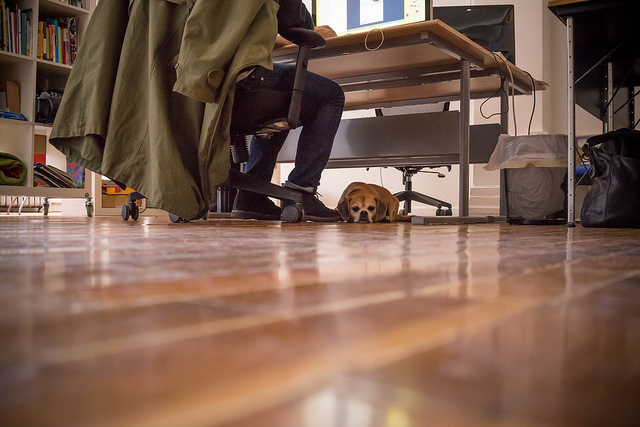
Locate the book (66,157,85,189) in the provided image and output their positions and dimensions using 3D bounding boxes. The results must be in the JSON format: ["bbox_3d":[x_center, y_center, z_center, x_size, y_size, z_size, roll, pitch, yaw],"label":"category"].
[{"bbox_3d":[-1.801,-0.284,3.154,0.034,0.334,0.245,-18,18,-35],"label":"book"}]

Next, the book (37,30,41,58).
[{"bbox_3d":[-2.280,-1.383,3.464,0.016,0.222,0.035,2,1,3],"label":"book"}]

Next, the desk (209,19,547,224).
[{"bbox_3d":[0.457,-0.478,2.904,1.488,1.012,1.746,4,2,41],"label":"desk"}]

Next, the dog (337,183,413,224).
[{"bbox_3d":[0.290,-0.070,2.499,0.400,0.186,0.749,3,2,18],"label":"dog"}]

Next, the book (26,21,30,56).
[{"bbox_3d":[-2.305,-1.389,3.376,0.020,0.273,0.025,1,1,-34],"label":"book"}]

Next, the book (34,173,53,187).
[{"bbox_3d":[-2.157,-0.248,3.304,0.176,0.037,0.054,35,13,-35],"label":"book"}]

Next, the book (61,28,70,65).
[{"bbox_3d":[-2.163,-1.425,3.630,0.067,0.296,0.022,1,1,-39],"label":"book"}]

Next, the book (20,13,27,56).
[{"bbox_3d":[-2.327,-1.413,3.358,0.046,0.323,0.033,1,1,-37],"label":"book"}]

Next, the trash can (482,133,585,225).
[{"bbox_3d":[1.214,-0.236,2.352,0.378,0.370,0.396,2,10,37],"label":"trash can"}]

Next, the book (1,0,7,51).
[{"bbox_3d":[-2.396,-1.428,3.242,0.031,0.361,0.049,3,1,29],"label":"book"}]

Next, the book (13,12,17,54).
[{"bbox_3d":[-2.356,-1.400,3.302,0.026,0.303,0.028,2,1,-19],"label":"book"}]
